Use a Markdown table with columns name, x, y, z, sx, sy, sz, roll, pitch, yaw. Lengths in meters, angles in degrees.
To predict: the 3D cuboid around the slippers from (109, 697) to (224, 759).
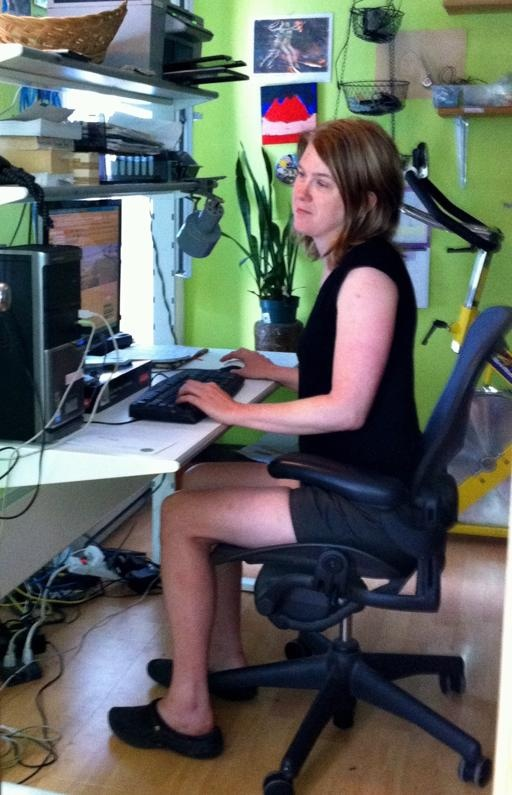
| name | x | y | z | sx | sy | sz | roll | pitch | yaw |
| --- | --- | --- | --- | --- | --- | --- | --- | --- | --- |
| slippers | -0.201 | 0.702 | 1.433 | 0.256 | 0.094 | 0.103 | 9 | 11 | 19 |

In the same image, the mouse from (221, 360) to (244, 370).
| name | x | y | z | sx | sy | sz | roll | pitch | yaw |
| --- | --- | --- | --- | --- | --- | --- | --- | --- | --- |
| mouse | -0.066 | -0.089 | 1.830 | 0.040 | 0.012 | 0.046 | 12 | 20 | 36 |

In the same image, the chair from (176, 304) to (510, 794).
| name | x | y | z | sx | sy | sz | roll | pitch | yaw |
| --- | --- | --- | --- | --- | --- | --- | --- | --- | --- |
| chair | 0.095 | 0.197 | 1.823 | 0.897 | 1.217 | 0.896 | 2 | 7 | 10 |

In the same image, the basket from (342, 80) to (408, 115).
| name | x | y | z | sx | sy | sz | roll | pitch | yaw |
| --- | --- | --- | --- | --- | --- | --- | --- | --- | --- |
| basket | 0.490 | -1.266 | 2.769 | 0.291 | 0.152 | 0.211 | 4 | 9 | 8 |

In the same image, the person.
| name | x | y | z | sx | sy | sz | roll | pitch | yaw |
| --- | --- | --- | --- | --- | --- | --- | --- | --- | --- |
| person | 0.036 | 0.090 | 1.413 | 0.672 | 1.228 | 0.511 | 1 | 4 | 5 |

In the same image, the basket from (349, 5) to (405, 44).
| name | x | y | z | sx | sy | sz | roll | pitch | yaw |
| --- | --- | --- | --- | --- | --- | --- | --- | --- | --- |
| basket | 0.471 | -1.460 | 2.636 | 0.216 | 0.100 | 0.216 | -1 | 16 | -1 |
